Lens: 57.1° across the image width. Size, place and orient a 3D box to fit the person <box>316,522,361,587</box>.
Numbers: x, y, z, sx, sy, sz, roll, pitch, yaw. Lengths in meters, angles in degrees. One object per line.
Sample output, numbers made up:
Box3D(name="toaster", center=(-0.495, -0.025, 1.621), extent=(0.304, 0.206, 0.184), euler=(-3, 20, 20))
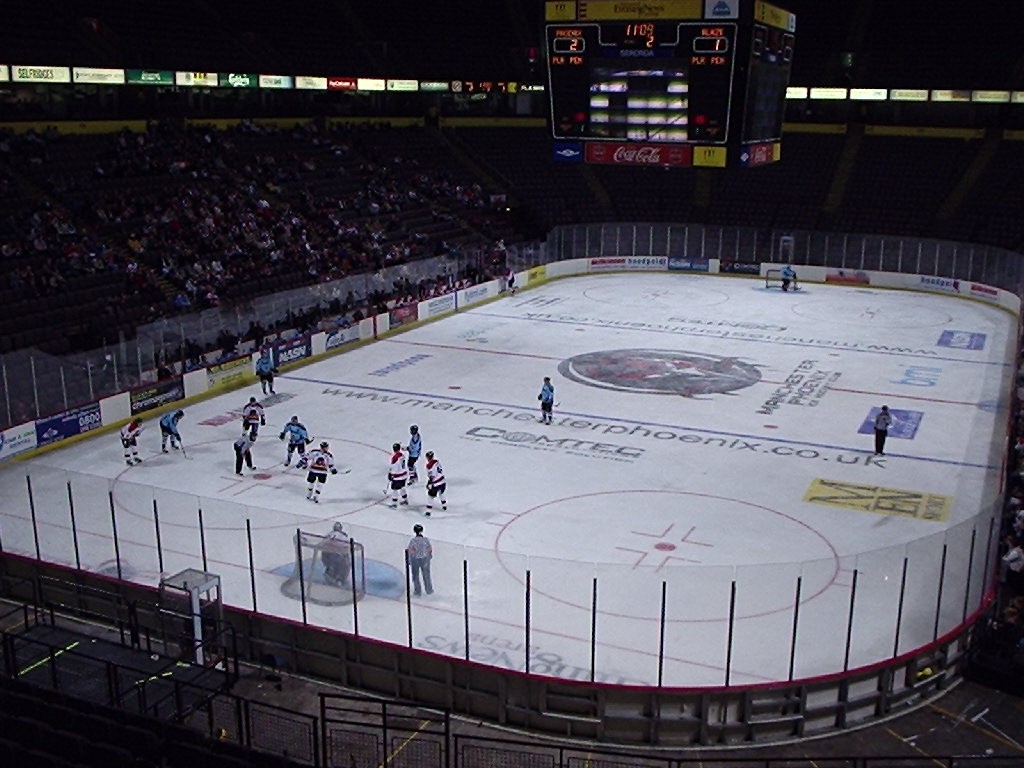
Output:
Box3D(name="person", center=(-3.355, 3.257, 18.244), extent=(0.685, 1.281, 0.729), euler=(4, 19, -5))

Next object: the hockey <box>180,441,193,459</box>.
Box3D(name="hockey", center=(-9.690, 2.015, 28.069), extent=(0.587, 0.276, 0.311), euler=(12, 21, 24))

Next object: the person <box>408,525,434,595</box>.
Box3D(name="person", center=(-1.719, 3.414, 17.846), extent=(0.476, 1.306, 0.701), euler=(-2, 27, -6))

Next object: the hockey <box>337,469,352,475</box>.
Box3D(name="hockey", center=(-4.676, 2.468, 26.521), extent=(0.193, 0.053, 0.196), euler=(7, 17, 24))
